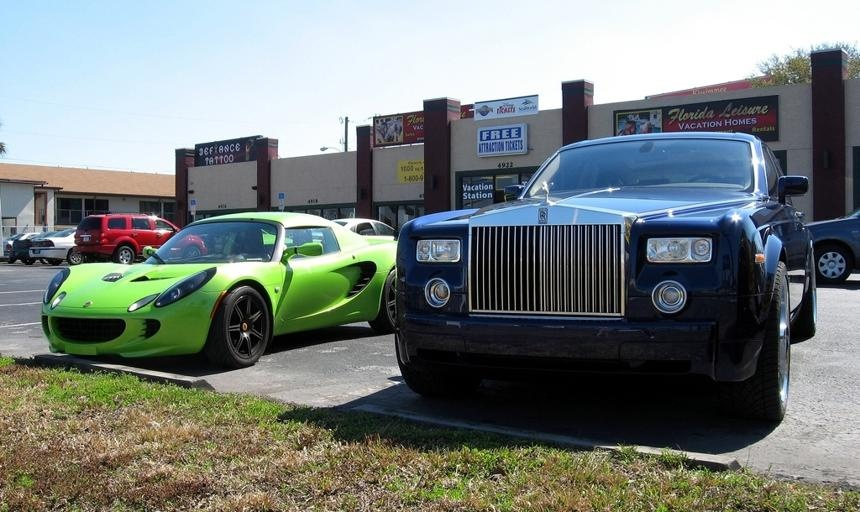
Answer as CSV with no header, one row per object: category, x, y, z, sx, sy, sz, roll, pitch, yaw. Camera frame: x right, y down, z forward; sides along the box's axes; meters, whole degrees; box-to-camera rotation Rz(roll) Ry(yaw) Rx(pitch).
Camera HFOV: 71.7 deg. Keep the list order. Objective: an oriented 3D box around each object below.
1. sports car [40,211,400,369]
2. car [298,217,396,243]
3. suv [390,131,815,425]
sports car,-2.608,0.360,7.906,4.093,1.798,1.895,-4,6,-40
car,-1.839,-0.683,18.161,1.143,0.641,2.268,-3,-5,26
suv,2.666,-0.028,7.371,3.470,2.631,6.170,-1,0,38
